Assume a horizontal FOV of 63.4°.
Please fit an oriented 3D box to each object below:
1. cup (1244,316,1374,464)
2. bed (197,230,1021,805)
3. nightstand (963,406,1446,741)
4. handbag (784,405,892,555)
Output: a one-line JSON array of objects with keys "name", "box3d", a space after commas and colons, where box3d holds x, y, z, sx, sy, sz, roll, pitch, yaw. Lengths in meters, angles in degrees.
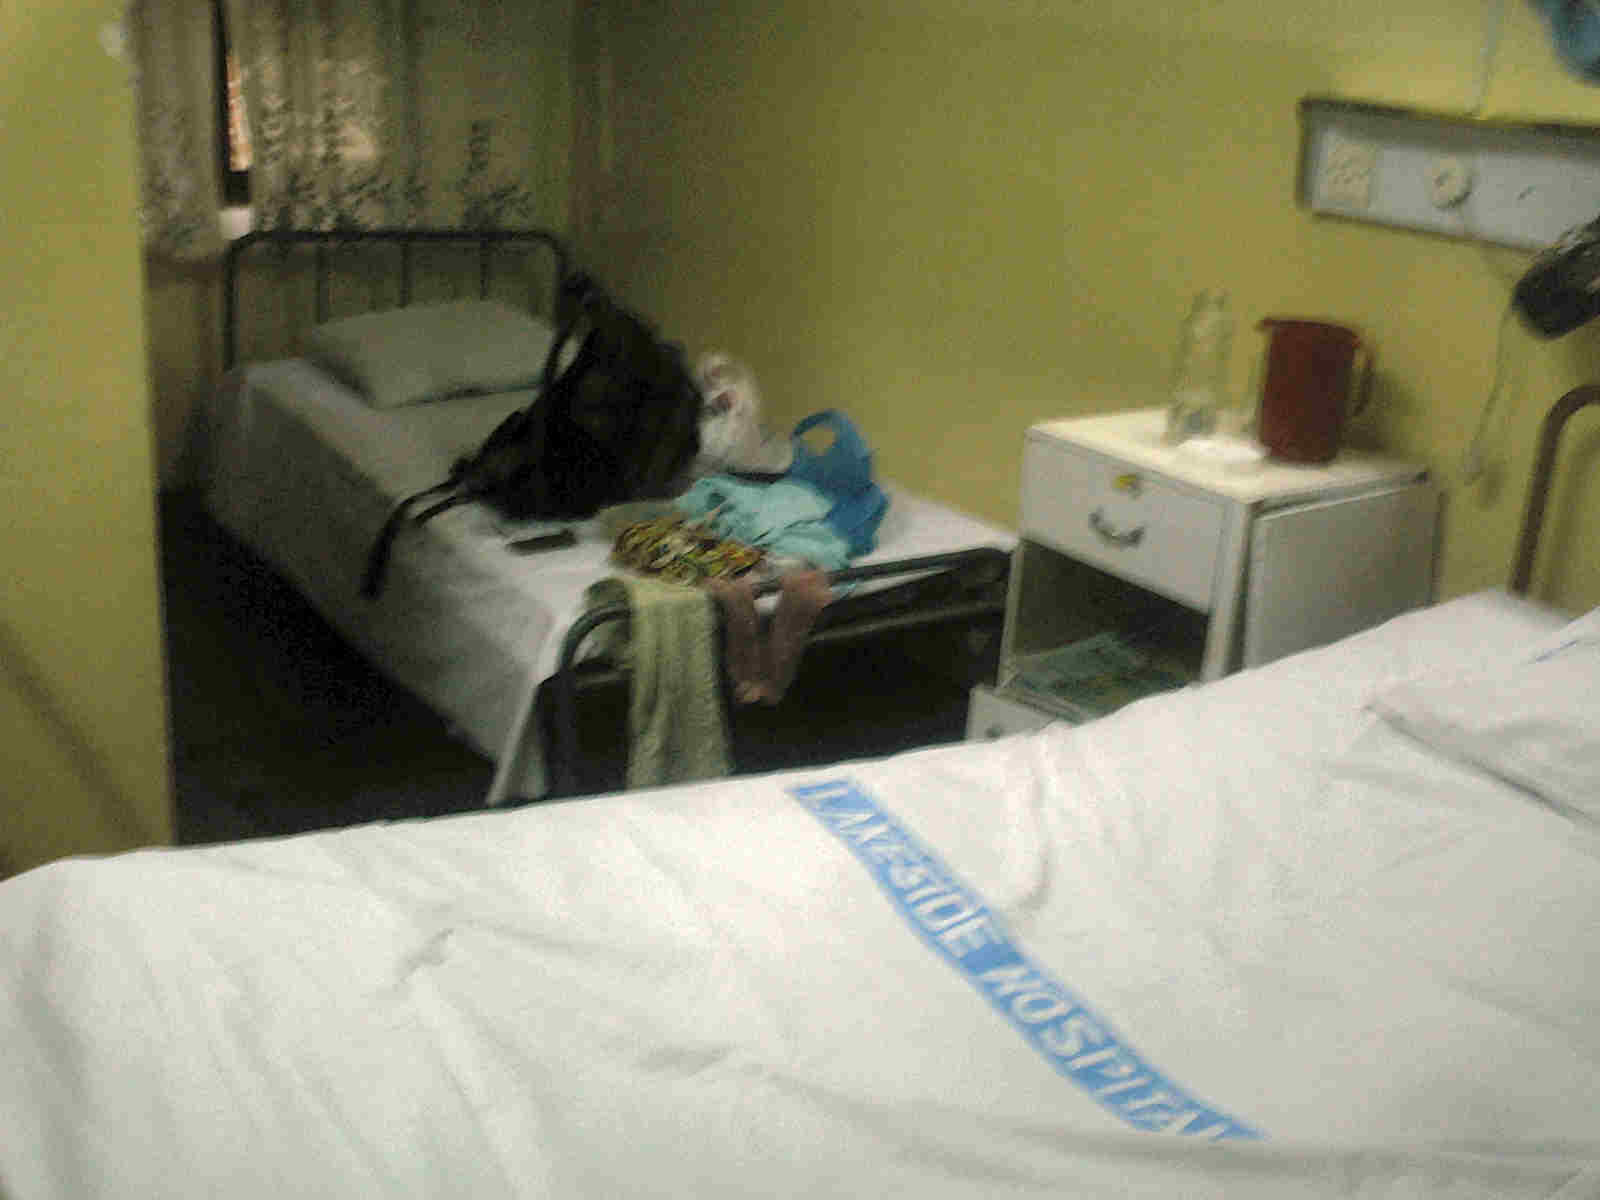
[{"name": "cup", "box3d": [0.875, -0.349, 2.192, 0.234, 0.237, 0.152, 7, 11, 2]}, {"name": "bed", "box3d": [-0.696, -0.222, 2.337, 0.731, 0.430, 0.985, -20, 52, -31]}, {"name": "nightstand", "box3d": [0.708, -0.041, 2.179, 0.343, 0.603, 0.430, -9, 24, -26]}, {"name": "handbag", "box3d": [0.075, -0.234, 2.658, 0.212, 0.305, 0.107, -14, -11, 43]}]
